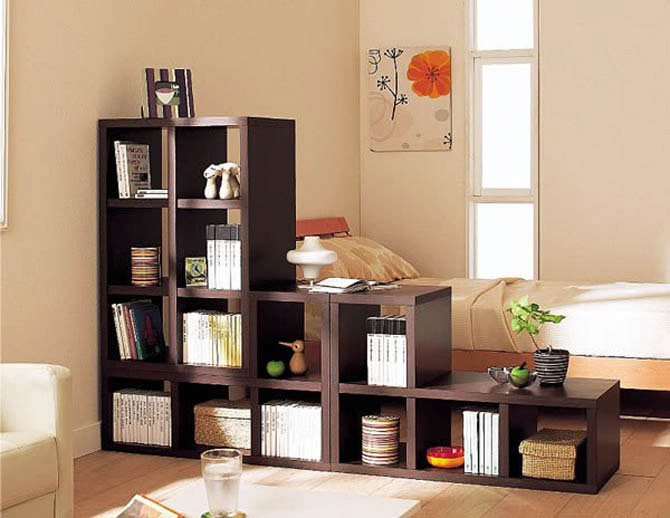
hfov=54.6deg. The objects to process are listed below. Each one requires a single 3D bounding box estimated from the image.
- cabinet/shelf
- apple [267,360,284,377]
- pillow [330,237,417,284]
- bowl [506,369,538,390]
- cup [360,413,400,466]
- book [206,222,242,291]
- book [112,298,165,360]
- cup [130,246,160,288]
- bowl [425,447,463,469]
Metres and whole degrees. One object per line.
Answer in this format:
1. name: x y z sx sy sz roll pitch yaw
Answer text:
1. cabinet/shelf: 0.076 0.224 3.251 2.584 1.561 0.563 5 8 12
2. apple: -0.293 0.532 3.189 0.088 0.073 0.081 -1 2 -3
3. pillow: 0.256 0.001 4.979 0.435 0.119 0.470 19 3 -3
4. bowl: 0.845 0.525 2.901 0.105 0.061 0.101 0 -4 0
5. cup: 0.216 0.841 3.060 0.188 0.215 0.145 -1 3 -1
6. book: -0.555 -0.011 3.245 0.210 0.317 0.050 0 4 31
7. book: -1.059 0.375 3.446 0.192 0.275 0.308 -12 -2 25
8. cup: -0.992 0.038 3.403 0.202 0.200 0.188 -1 -1 0
9. bowl: 0.507 0.910 3.004 0.161 0.072 0.156 -1 3 0
